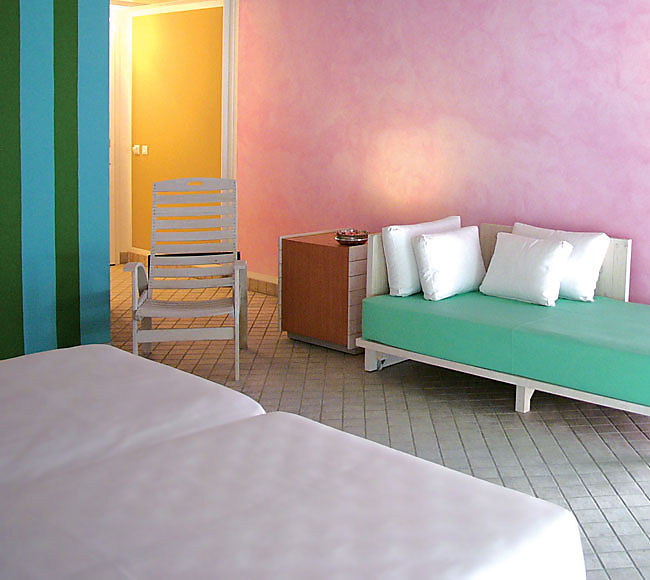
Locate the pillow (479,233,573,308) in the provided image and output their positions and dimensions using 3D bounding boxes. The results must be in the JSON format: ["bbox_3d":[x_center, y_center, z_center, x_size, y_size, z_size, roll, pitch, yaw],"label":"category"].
[{"bbox_3d":[1.204,-0.119,3.286,0.138,0.416,0.470,15,5,-43],"label":"pillow"}]

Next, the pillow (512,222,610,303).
[{"bbox_3d":[1.416,-0.141,3.298,0.422,0.316,0.160,14,22,39],"label":"pillow"}]
